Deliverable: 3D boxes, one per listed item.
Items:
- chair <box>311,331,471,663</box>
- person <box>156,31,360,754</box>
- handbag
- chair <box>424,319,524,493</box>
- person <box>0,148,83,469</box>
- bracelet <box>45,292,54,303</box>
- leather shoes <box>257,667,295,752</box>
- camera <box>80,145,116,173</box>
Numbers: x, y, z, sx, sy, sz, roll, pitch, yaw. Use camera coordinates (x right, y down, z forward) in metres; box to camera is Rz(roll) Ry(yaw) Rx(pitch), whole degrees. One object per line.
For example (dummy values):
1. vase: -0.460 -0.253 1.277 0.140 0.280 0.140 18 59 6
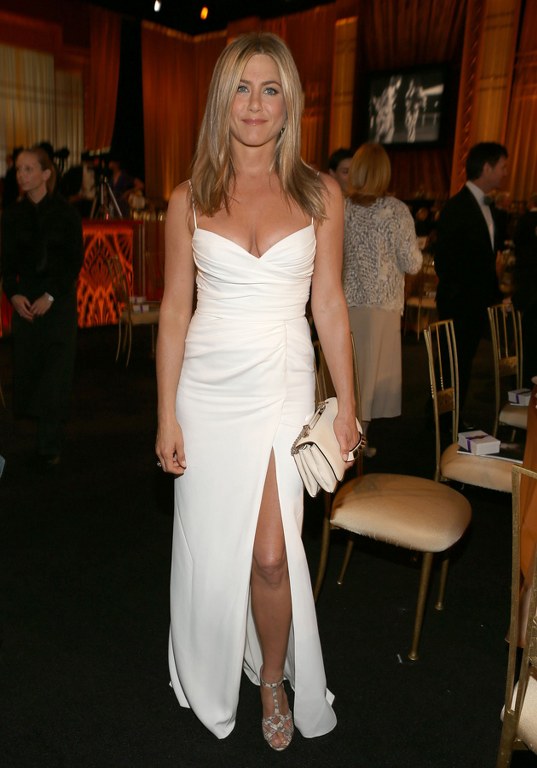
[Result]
1. chair: 0.414 0.376 1.958 0.490 1.079 0.440 5 16 25
2. person: -0.025 0.072 1.381 0.492 1.653 0.231 2 8 9
3. handbag: 0.141 0.142 1.253 0.064 0.190 0.184 1 40 25
4. chair: 0.866 0.106 2.394 0.311 0.744 0.369 -15 15 -41
5. person: -1.324 -0.416 3.387 0.442 1.874 0.338 -3 8 -21
6. bracelet: -1.246 -0.490 3.274 0.030 0.053 0.013 -9 -2 -36
7. leather shoes: 0.019 0.816 1.434 0.053 0.083 0.182 -1 4 0
8. camera: -2.611 -3.393 8.683 0.384 0.287 0.610 0 4 -11
